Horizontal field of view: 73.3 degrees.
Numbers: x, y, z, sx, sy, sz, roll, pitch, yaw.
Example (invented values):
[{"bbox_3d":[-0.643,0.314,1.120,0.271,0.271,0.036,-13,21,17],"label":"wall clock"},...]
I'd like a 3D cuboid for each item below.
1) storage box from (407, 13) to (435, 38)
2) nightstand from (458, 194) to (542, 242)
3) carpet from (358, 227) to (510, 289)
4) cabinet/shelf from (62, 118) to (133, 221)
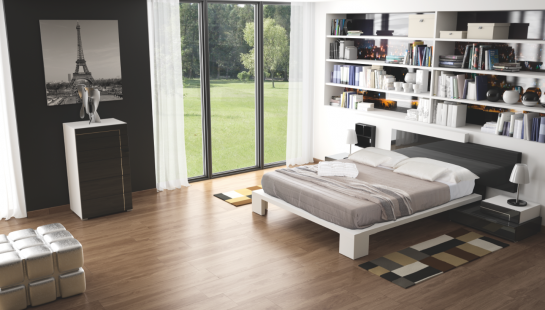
[{"bbox_3d":[3.136,-2.584,7.346,0.431,0.482,0.667,-15,26,-18],"label":"storage box"},{"bbox_3d":[4.024,1.082,6.368,0.905,0.428,1.085,-8,14,-31],"label":"nightstand"},{"bbox_3d":[2.484,1.607,5.773,2.193,0.155,0.689,-10,17,-24],"label":"carpet"},{"bbox_3d":[-3.238,0.250,6.900,1.276,1.720,0.676,-14,21,-24],"label":"cabinet/shelf"}]
